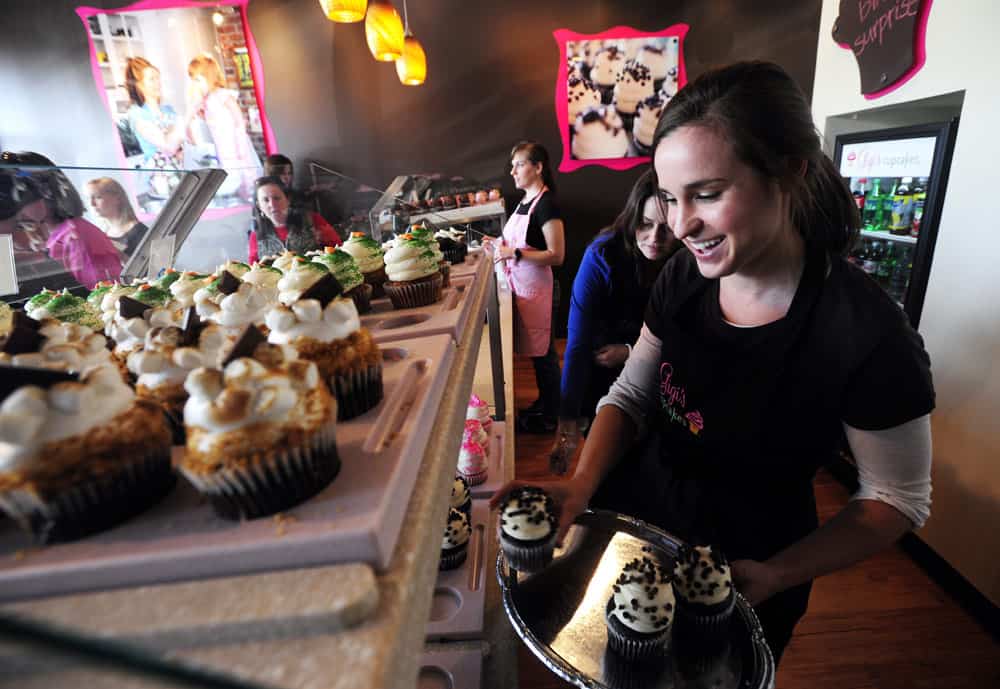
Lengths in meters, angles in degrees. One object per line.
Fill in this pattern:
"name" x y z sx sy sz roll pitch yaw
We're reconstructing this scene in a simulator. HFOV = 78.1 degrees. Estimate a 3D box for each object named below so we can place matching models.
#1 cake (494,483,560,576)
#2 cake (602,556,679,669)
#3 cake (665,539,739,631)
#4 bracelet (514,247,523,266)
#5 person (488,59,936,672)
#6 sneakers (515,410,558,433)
"cake" 0.089 0.546 1.850 0.196 0.217 0.214 -1 15 0
"cake" 0.398 0.734 1.707 0.151 0.187 0.202 6 26 21
"cake" 0.562 0.653 1.736 0.185 0.240 0.187 -7 -2 -13
"bracelet" 0.115 -0.521 3.578 0.055 0.058 0.068 -2 5 6
"person" 0.737 -0.001 1.770 0.984 1.480 0.664 12 29 31
"sneakers" 0.226 0.479 3.843 0.223 0.085 0.113 0 25 3
